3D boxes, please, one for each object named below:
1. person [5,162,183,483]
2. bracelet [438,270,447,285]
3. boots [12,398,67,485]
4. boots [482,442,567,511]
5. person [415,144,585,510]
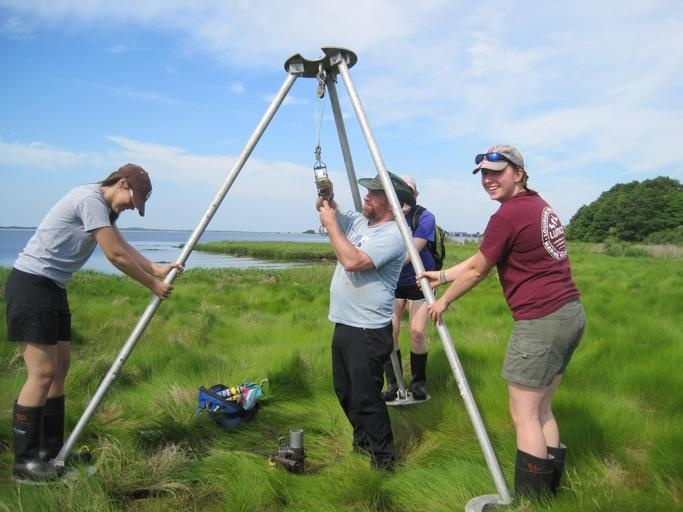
[{"bbox_3d":[-2.513,0.554,4.720,1.362,2.788,0.751,-4,9,-20],"label":"person"},{"bbox_3d":[0.934,0.201,4.779,0.079,0.119,0.123,-1,7,5],"label":"bracelet"},{"bbox_3d":[-2.759,1.663,4.549,0.442,0.667,0.307,5,10,36],"label":"boots"},{"bbox_3d":[1.582,1.849,4.216,0.826,0.479,0.233,-4,9,-21],"label":"boots"},{"bbox_3d":[1.528,0.549,4.314,0.959,2.970,0.661,4,9,28],"label":"person"}]
